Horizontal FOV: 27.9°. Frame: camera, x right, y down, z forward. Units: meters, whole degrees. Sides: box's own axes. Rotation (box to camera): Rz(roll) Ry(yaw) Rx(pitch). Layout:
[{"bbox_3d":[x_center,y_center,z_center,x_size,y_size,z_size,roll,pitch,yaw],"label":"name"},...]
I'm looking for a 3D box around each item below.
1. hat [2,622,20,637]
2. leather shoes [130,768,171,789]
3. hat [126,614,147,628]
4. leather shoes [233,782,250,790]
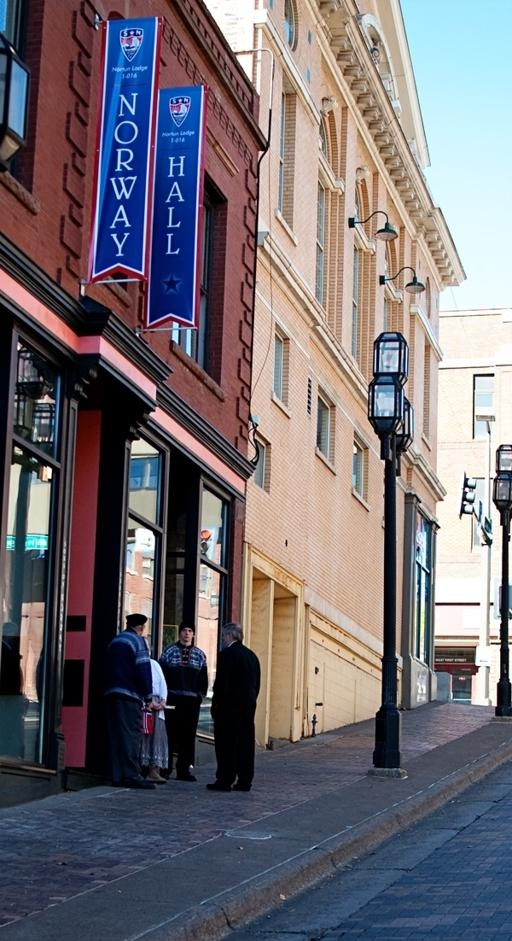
[{"bbox_3d":[-1.992,1.295,8.338,0.086,0.106,0.094,2,0,30],"label":"hat"},{"bbox_3d":[-1.071,3.089,10.314,0.399,0.213,0.136,-20,-19,39],"label":"leather shoes"},{"bbox_3d":[-1.179,1.477,10.142,0.133,0.131,0.174,7,-44,12],"label":"hat"},{"bbox_3d":[-0.153,3.241,10.554,0.142,0.093,0.112,-3,-16,3],"label":"leather shoes"}]
